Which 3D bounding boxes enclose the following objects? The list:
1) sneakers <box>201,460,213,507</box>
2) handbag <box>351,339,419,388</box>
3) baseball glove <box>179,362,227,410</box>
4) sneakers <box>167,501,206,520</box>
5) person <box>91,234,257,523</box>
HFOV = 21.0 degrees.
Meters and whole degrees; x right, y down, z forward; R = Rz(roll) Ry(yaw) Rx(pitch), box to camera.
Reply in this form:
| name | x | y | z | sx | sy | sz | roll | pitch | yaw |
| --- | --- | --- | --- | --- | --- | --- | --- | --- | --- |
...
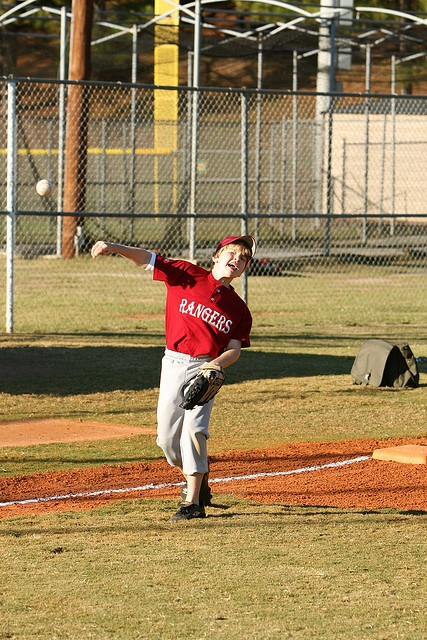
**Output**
| name | x | y | z | sx | sy | sz | roll | pitch | yaw |
| --- | --- | --- | --- | --- | --- | --- | --- | --- | --- |
| sneakers | -0.039 | 0.822 | 5.664 | 0.057 | 0.173 | 0.079 | 5 | -21 | 7 |
| handbag | 1.503 | 0.372 | 10.004 | 0.383 | 0.308 | 0.497 | -3 | 8 | -31 |
| baseball glove | -0.065 | 0.307 | 5.474 | 0.163 | 0.245 | 0.094 | 37 | -7 | -36 |
| sneakers | -0.120 | 0.899 | 5.451 | 0.186 | 0.084 | 0.065 | 1 | 1 | -19 |
| person | -0.138 | 0.259 | 5.612 | 0.667 | 1.343 | 0.586 | 1 | 5 | 2 |
